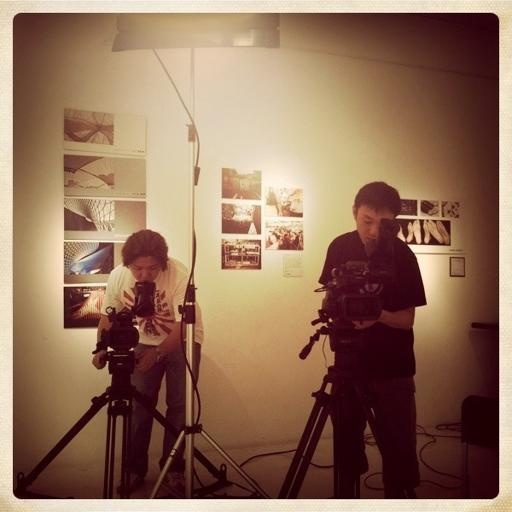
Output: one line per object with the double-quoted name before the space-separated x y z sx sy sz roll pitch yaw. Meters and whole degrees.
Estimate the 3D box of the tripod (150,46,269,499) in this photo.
"tripod" -0.252 0.054 2.801 0.648 2.527 0.826 1 3 -14

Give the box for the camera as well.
"camera" -0.662 0.285 2.464 0.297 0.386 0.105 -1 20 -20

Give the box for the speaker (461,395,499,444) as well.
"speaker" 1.220 0.899 2.761 0.216 0.268 0.089 2 3 0

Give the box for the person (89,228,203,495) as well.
"person" -0.615 0.565 2.903 0.439 1.529 0.715 5 8 24

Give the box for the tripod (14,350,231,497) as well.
"tripod" -0.759 0.656 2.791 0.871 0.771 0.821 0 -2 -1
